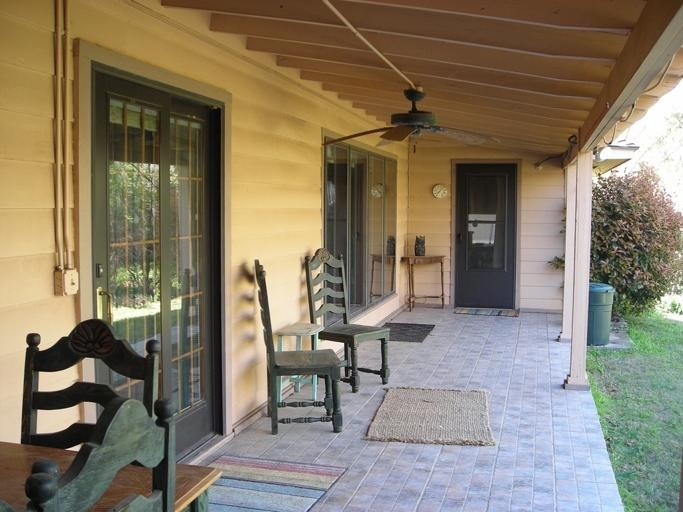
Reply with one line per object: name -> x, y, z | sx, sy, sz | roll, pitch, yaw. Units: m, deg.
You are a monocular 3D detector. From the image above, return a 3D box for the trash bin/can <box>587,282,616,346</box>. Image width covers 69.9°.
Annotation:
trash bin/can -> 3.784, 0.868, 7.155 | 0.308, 0.919, 0.439 | 4, 5, 26

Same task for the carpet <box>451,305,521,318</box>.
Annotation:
carpet -> 2.700, 1.030, 9.080 | 1.128, 0.068, 0.700 | 2, 4, 17

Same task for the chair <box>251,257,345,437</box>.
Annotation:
chair -> -0.385, 0.762, 4.314 | 0.799, 1.434, 0.694 | 1, 4, -8

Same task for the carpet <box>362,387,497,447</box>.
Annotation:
carpet -> 0.830, 1.436, 4.465 | 1.030, 0.056, 1.270 | 2, 4, 12

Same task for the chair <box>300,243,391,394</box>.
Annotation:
chair -> 0.030, 0.617, 5.411 | 0.857, 1.558, 0.769 | 10, 7, 43

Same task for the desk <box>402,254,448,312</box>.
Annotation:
desk -> 1.590, 0.484, 9.368 | 0.803, 1.072, 0.571 | 1, 7, 11

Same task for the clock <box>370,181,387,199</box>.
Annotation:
clock -> 0.603, -1.069, 7.967 | 0.069, 0.271, 0.288 | -10, 2, 34
